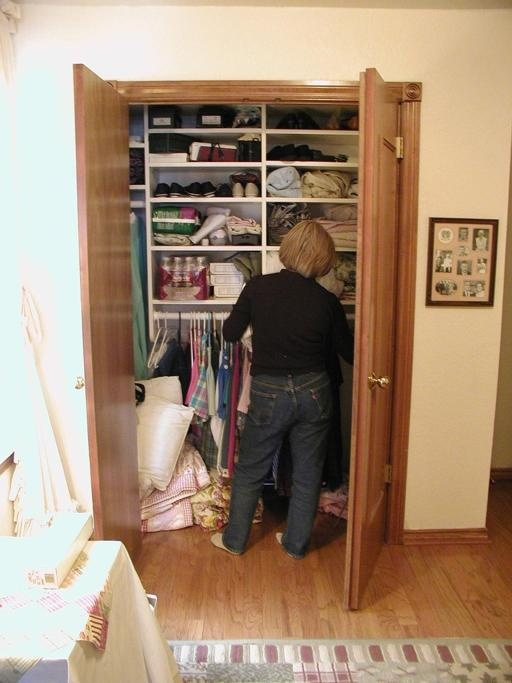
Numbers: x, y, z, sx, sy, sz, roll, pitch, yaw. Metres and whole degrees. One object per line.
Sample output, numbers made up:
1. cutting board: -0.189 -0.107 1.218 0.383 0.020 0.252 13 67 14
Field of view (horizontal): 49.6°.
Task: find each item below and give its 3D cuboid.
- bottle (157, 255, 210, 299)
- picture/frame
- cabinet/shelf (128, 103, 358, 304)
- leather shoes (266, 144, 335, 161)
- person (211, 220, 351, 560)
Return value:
1. bottle: -0.421 -0.354 3.186 0.262 0.219 0.258 0 29 -3
2. picture/frame: 0.910 -0.370 2.487 0.400 0.480 0.025 1 8 -7
3. cabinet/shelf: -0.073 -0.754 3.033 1.215 1.155 0.373 0 5 -2
4. leather shoes: 0.278 -1.065 3.149 0.441 0.122 0.188 0 8 1
5. person: 0.114 0.237 2.553 0.637 1.541 0.279 1 9 9
